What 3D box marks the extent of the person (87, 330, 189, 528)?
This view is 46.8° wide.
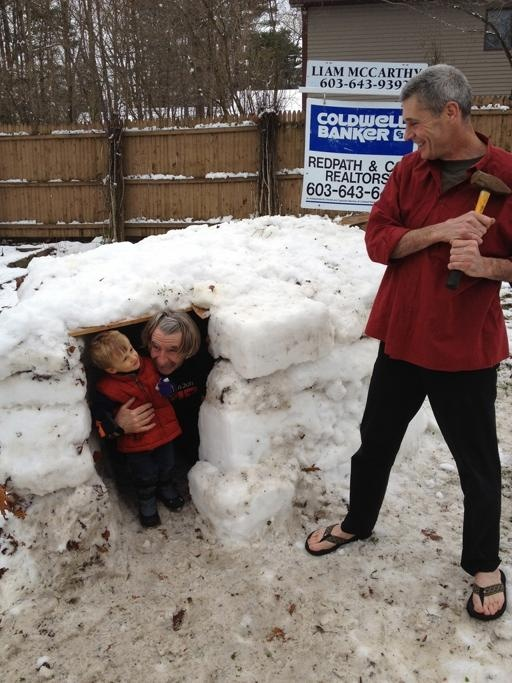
[{"bbox_3d":[-0.611,0.429,3.132,0.380,1.058,0.483,3,22,17],"label":"person"}]

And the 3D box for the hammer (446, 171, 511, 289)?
[{"bbox_3d":[0.772,-0.391,2.096,0.217,0.397,0.207,-1,18,-15],"label":"hammer"}]

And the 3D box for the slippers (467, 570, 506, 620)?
[{"bbox_3d":[0.939,1.033,2.383,0.106,0.057,0.229,1,21,36],"label":"slippers"}]

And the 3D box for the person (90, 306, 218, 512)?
[{"bbox_3d":[-0.579,0.354,3.359,0.708,1.068,0.649,-1,18,-23],"label":"person"}]
